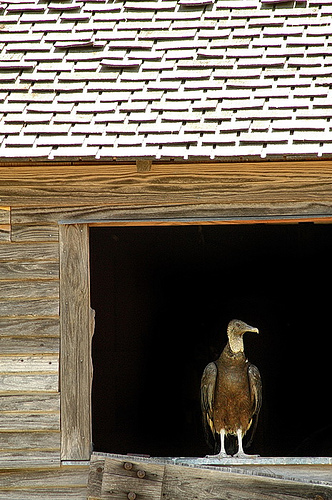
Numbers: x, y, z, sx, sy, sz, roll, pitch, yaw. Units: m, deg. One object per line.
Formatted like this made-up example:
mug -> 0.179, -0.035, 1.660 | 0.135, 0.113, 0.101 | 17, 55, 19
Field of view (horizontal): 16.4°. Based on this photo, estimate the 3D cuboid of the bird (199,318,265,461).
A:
bird -> 0.570, 1.205, 10.395 | 0.529, 1.113, 0.359 | -2, -2, 40
